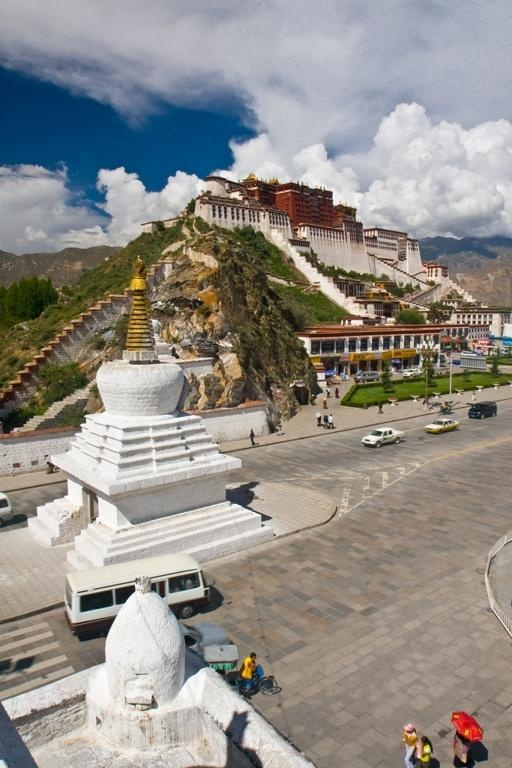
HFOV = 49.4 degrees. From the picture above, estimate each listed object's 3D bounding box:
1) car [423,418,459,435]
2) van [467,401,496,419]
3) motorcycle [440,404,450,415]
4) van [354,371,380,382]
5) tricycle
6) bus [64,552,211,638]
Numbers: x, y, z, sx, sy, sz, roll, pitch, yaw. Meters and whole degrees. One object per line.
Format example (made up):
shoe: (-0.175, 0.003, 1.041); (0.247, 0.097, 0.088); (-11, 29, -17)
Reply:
car: (11.561, 2.667, 34.435); (2.374, 0.693, 0.895); (-6, 7, -38)
van: (16.070, 1.902, 39.292); (1.856, 0.917, 1.110); (-2, -1, -28)
motorcycle: (14.134, 1.853, 41.197); (0.646, 0.791, 1.388); (1, 6, 18)
van: (11.050, -0.642, 54.878); (2.080, 0.905, 1.178); (2, -2, -24)
tricycle: (-0.290, 5.421, 10.261); (1.280, 0.685, 0.617); (-5, -17, 9)
bus: (-2.724, 4.865, 12.854); (3.103, 1.286, 1.300); (-4, 2, -23)
